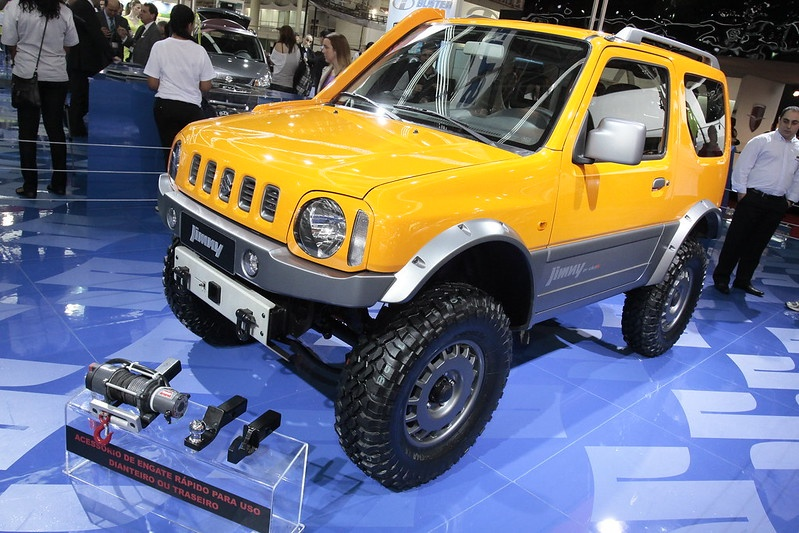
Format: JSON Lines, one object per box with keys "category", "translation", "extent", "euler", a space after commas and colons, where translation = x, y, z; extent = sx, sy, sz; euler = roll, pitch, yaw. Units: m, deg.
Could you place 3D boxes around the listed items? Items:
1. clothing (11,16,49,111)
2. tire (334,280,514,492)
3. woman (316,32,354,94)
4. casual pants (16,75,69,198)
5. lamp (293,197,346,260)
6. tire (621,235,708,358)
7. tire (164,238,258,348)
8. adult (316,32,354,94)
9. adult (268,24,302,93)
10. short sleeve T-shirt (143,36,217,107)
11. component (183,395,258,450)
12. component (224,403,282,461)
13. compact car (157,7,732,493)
{"category": "clothing", "translation": [-4.045, -2.201, 5.775], "extent": [0.464, 0.926, 0.205], "euler": [-9, 27, -29]}
{"category": "tire", "translation": [0.119, 0.683, 3.021], "extent": [0.325, 1.048, 1.053], "euler": [29, 7, 41]}
{"category": "woman", "translation": [-0.727, -2.342, 6.237], "extent": [0.383, 0.686, 0.774], "euler": [-1, 27, -16]}
{"category": "casual pants", "translation": [-4.171, -1.567, 6.087], "extent": [0.334, 1.410, 0.524], "euler": [25, 25, 33]}
{"category": "lamp", "translation": [-0.411, -0.183, 2.733], "extent": [0.280, 0.304, 0.080], "euler": [5, -1, 11]}
{"category": "tire", "translation": [2.234, 0.245, 4.483], "extent": [0.790, 0.880, 0.255], "euler": [-30, 39, -31]}
{"category": "tire", "translation": [-1.366, 0.225, 3.780], "extent": [0.810, 0.276, 0.811], "euler": [-1, 18, -13]}
{"category": "adult", "translation": [-0.723, -2.351, 6.234], "extent": [0.389, 0.692, 0.799], "euler": [-8, 34, -21]}
{"category": "adult", "translation": [-2.014, -3.349, 9.255], "extent": [0.437, 1.605, 0.436], "euler": [-21, 46, -39]}
{"category": "short sleeve T-shirt", "translation": [-2.437, -2.159, 5.906], "extent": [0.766, 0.677, 0.376], "euler": [7, 19, -4]}
{"category": "component", "translation": [-0.951, 0.813, 2.894], "extent": [0.121, 0.155, 0.428], "euler": [16, 25, 27]}
{"category": "component", "translation": [-0.745, 0.887, 2.865], "extent": [0.110, 0.157, 0.374], "euler": [19, 34, 29]}
{"category": "compact car", "translation": [0.527, -0.311, 4.348], "extent": [4.252, 2.534, 2.694], "euler": [-13, 22, -40]}
